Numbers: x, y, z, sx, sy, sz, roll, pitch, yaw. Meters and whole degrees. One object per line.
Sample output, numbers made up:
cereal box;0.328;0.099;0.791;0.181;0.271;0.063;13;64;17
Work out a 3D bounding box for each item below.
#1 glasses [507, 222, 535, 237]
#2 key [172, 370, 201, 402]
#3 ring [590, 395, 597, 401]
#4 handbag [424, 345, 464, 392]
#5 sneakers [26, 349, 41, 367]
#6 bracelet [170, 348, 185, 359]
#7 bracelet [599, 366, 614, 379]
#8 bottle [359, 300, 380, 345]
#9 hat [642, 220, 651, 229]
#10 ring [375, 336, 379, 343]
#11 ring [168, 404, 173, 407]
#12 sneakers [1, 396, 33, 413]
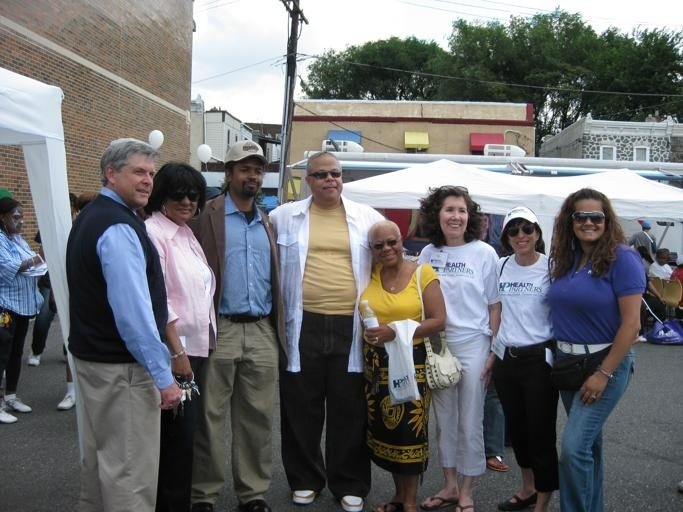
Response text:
glasses;1.381;-0.209;4.698;0.127;0.047;0.133;-8;-34;11
key;-1.077;0.912;4.255;0.143;0.183;0.073;-1;-5;-35
ring;1.727;0.969;4.193;0.039;0.041;0.024;10;13;-10
handbag;0.781;0.817;4.700;0.284;0.370;0.191;-5;-9;-44
sneakers;-4.069;1.351;7.986;0.118;0.238;0.352;15;-19;-29
bracelet;-1.127;0.663;4.172;0.064;0.032;0.048;-17;6;-4
bracelet;1.807;0.793;4.168;0.076;0.026;0.073;35;-20;-29
bottle;0.215;0.459;4.678;0.143;0.231;0.146;-1;7;0
hat;7.169;-0.744;14.380;0.184;0.279;0.278;8;-5;33
ring;0.271;0.628;4.622;0.025;0.050;0.015;-1;7;3
ring;-1.085;0.943;3.858;0.017;0.016;0.017;-20;-15;-6
sneakers;-3.341;1.535;6.361;0.327;0.148;0.134;6;3;-13
